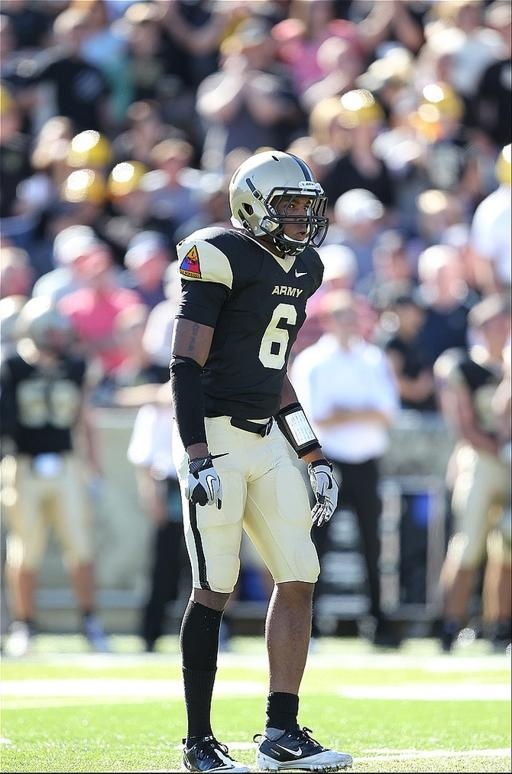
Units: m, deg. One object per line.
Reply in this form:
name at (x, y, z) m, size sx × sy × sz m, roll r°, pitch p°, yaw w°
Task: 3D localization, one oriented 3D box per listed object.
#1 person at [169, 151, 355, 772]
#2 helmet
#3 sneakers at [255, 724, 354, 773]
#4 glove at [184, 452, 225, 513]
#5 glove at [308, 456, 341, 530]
person at (0.006, 0.168, 3.135) m, size 0.506 × 1.666 × 0.485 m, roll 3°, pitch 2°, yaw -10°
helmet at (0.048, -0.544, 3.284) m, size 0.303 × 0.205 × 0.218 m, roll 10°, pitch 14°, yaw 20°
sneakers at (0.116, 0.957, 3.066) m, size 0.298 × 0.118 × 0.097 m, roll 0°, pitch -8°, yaw -4°
glove at (-0.133, 0.244, 2.929) m, size 0.065 × 0.119 × 0.101 m, roll -15°, pitch 15°, yaw -37°
glove at (0.189, 0.305, 3.334) m, size 0.149 × 0.217 × 0.067 m, roll -2°, pitch -4°, yaw 21°
